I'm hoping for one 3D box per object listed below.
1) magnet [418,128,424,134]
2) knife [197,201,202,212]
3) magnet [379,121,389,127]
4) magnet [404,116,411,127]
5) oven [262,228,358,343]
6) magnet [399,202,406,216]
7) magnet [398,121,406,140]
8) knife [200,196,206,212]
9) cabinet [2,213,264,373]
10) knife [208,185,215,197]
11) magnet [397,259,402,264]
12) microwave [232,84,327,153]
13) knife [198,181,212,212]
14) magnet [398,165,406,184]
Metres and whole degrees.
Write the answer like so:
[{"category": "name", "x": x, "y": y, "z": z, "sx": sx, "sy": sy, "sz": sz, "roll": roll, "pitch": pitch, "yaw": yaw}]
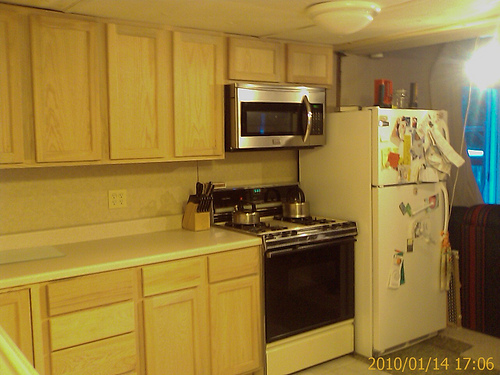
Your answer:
[{"category": "magnet", "x": 1.422, "y": -0.476, "z": 3.350, "sx": 0.050, "sy": 0.046, "sz": 0.013, "roll": 1, "pitch": 1, "yaw": -21}, {"category": "knife", "x": -0.388, "y": 0.140, "z": 3.063, "sx": 0.019, "sy": 0.094, "sz": 0.013, "roll": 17, "pitch": 6, "yaw": 11}, {"category": "magnet", "x": 1.040, "y": -0.497, "z": 3.123, "sx": 0.107, "sy": 0.042, "sz": 0.007, "roll": -8, "pitch": 12, "yaw": -33}, {"category": "magnet", "x": 1.278, "y": -0.540, "z": 3.258, "sx": 0.018, "sy": 0.070, "sz": 0.071, "roll": 1, "pitch": 1, "yaw": 32}, {"category": "oven", "x": 0.418, "y": 0.677, "z": 3.377, "sx": 0.954, "sy": 0.971, "sz": 0.681, "roll": -3, "pitch": 1, "yaw": -30}, {"category": "magnet", "x": 1.234, "y": 0.168, "z": 3.252, "sx": 0.071, "sy": 0.101, "sz": 0.015, "roll": -9, "pitch": 12, "yaw": -35}, {"category": "magnet", "x": 1.221, "y": -0.460, "z": 3.227, "sx": 0.095, "sy": 0.146, "sz": 0.021, "roll": -10, "pitch": 13, "yaw": -40}, {"category": "knife", "x": -0.362, "y": 0.128, "z": 3.079, "sx": 0.035, "sy": 0.122, "sz": 0.028, "roll": 12, "pitch": 3, "yaw": -40}, {"category": "cabinet", "x": -0.702, "y": 0.663, "z": 2.437, "sx": 1.115, "sy": 0.722, "sz": 0.566, "roll": -1, "pitch": 1, "yaw": -37}, {"category": "knife", "x": -0.301, "y": 0.025, "z": 3.114, "sx": 0.020, "sy": 0.118, "sz": 0.016, "roll": 14, "pitch": 21, "yaw": -22}, {"category": "magnet", "x": 1.199, "y": 0.595, "z": 3.241, "sx": 0.020, "sy": 0.031, "sz": 0.035, "roll": 0, "pitch": 1, "yaw": -33}, {"category": "microwave", "x": 0.219, "y": -0.583, "z": 3.378, "sx": 0.766, "sy": 0.475, "sz": 0.480, "roll": -2, "pitch": 10, "yaw": -13}, {"category": "knife", "x": -0.349, "y": 0.061, "z": 3.043, "sx": 0.043, "sy": 0.192, "sz": 0.008, "roll": 19, "pitch": -2, "yaw": 24}, {"category": "magnet", "x": 1.220, "y": -0.111, "z": 3.237, "sx": 0.090, "sy": 0.149, "sz": 0.022, "roll": -8, "pitch": 12, "yaw": -32}]
